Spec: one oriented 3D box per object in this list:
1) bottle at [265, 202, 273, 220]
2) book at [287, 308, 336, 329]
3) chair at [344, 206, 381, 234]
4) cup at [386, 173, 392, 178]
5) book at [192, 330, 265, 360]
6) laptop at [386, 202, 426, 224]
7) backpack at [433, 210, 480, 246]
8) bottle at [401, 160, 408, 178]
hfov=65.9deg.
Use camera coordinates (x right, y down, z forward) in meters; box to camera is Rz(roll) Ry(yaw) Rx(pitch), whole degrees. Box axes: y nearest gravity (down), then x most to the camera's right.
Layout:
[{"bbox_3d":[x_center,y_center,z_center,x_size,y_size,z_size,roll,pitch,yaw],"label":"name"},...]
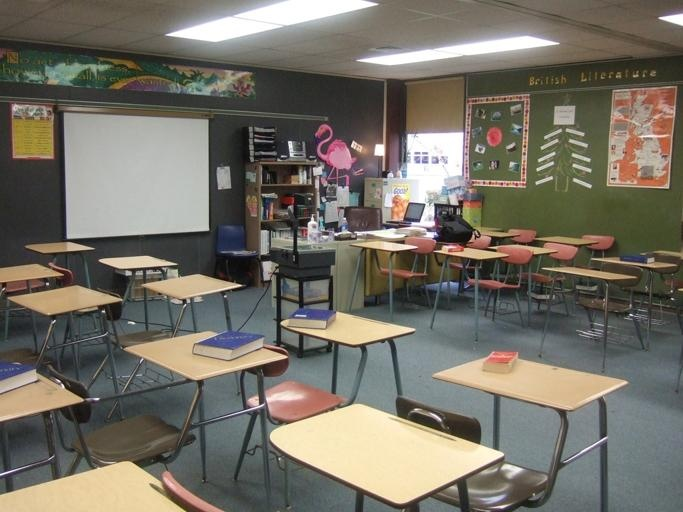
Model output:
[{"bbox_3d":[-1.212,-0.745,8.666,0.179,0.349,0.099,-4,10,-25],"label":"bottle"},{"bbox_3d":[-0.217,0.446,3.808,0.338,0.091,0.261,0,9,1],"label":"book"},{"bbox_3d":[0.357,-0.615,8.789,0.482,0.579,0.447,-5,11,-37],"label":"chair"},{"bbox_3d":[0.927,-1.527,10.071,0.093,0.080,0.089,1,3,0],"label":"cup"},{"bbox_3d":[-0.706,0.550,3.296,0.314,0.091,0.355,4,10,28],"label":"book"},{"bbox_3d":[1.207,-0.734,9.151,0.438,0.277,0.478,-4,8,-25],"label":"laptop"},{"bbox_3d":[1.747,-0.420,8.023,0.445,0.381,0.564,-7,15,-36],"label":"backpack"},{"bbox_3d":[1.248,-1.729,10.468,0.150,0.332,0.375,1,9,6],"label":"bottle"}]
